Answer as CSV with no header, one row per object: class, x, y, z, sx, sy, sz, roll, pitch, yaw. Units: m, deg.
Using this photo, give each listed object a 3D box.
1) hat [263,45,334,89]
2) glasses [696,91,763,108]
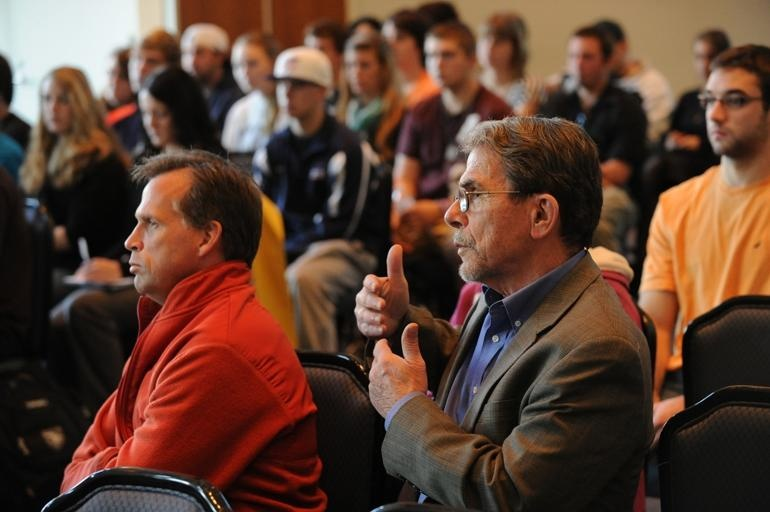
hat,-0.346,-0.845,3.474,0.183,0.140,0.192,5,4,-28
glasses,1.320,-0.599,2.986,0.090,0.063,0.239,-11,17,-41
